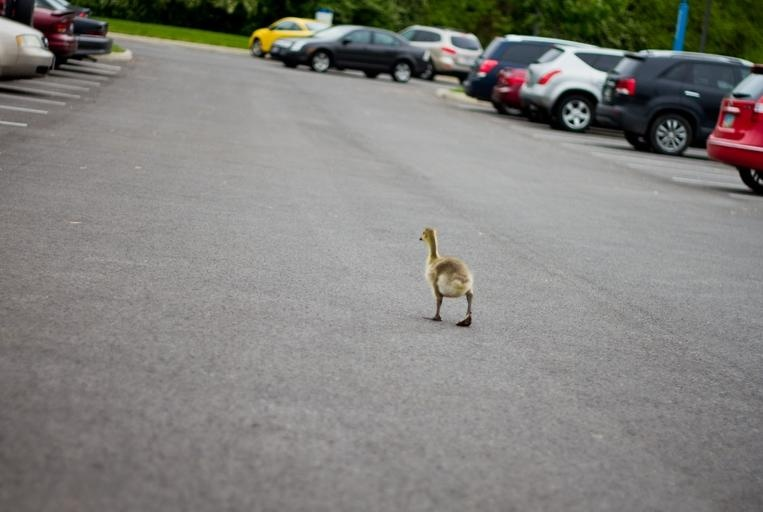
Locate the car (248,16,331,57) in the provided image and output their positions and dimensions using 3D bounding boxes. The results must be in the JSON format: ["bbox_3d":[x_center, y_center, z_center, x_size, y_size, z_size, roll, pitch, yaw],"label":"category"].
[{"bbox_3d":[-5.368,-13.268,41.977,5.774,2.574,3.614,13,14,20],"label":"car"}]

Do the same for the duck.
[{"bbox_3d":[0.534,0.163,6.054,0.355,0.912,0.977,-6,1,-14],"label":"duck"}]
